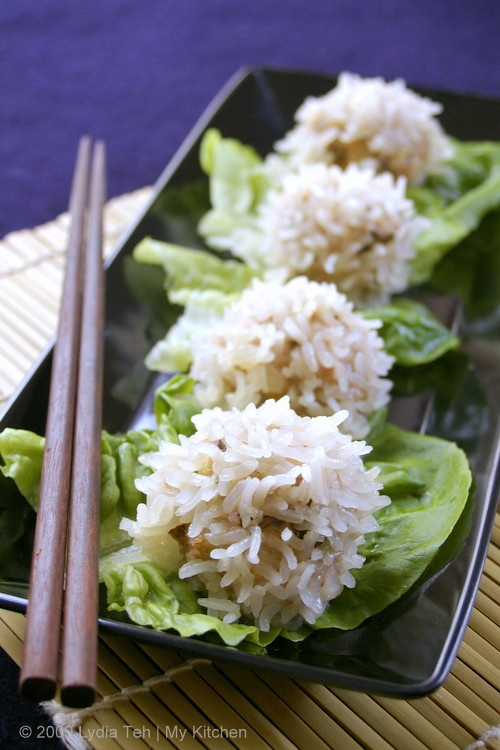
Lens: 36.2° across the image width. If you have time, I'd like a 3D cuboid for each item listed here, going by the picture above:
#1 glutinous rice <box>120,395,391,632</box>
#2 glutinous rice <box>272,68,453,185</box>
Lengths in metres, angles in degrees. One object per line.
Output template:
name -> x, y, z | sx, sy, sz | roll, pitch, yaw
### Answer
glutinous rice -> 0.015, 0.176, 1.054 | 0.298, 0.264, 0.235 | 20, 24, 30
glutinous rice -> 0.302, -0.556, 1.821 | 0.315, 0.121, 0.308 | -35, 57, -28
